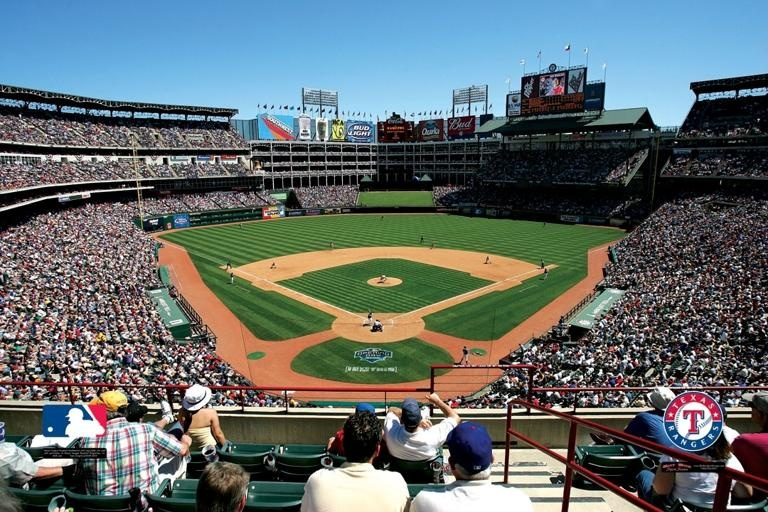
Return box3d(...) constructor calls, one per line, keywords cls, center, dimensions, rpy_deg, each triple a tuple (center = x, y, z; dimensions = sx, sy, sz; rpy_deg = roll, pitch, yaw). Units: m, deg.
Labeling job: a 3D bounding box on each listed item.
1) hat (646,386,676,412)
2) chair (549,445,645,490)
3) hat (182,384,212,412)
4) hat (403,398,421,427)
box3d(cls="hat", center=(6.489, 3.400, 13.745), dimensions=(0.481, 0.672, 0.780), rpy_deg=(7, 16, 25))
box3d(cls="chair", center=(5.528, 5.153, 14.702), dimensions=(2.171, 0.977, 1.648), rpy_deg=(5, 0, -3))
box3d(cls="hat", center=(-4.649, 3.439, 14.384), dimensions=(0.680, 0.635, 0.328), rpy_deg=(-5, 17, -16))
box3d(cls="hat", center=(0.594, 3.548, 13.312), dimensions=(0.559, 0.344, 0.668), rpy_deg=(-6, 35, 1))
